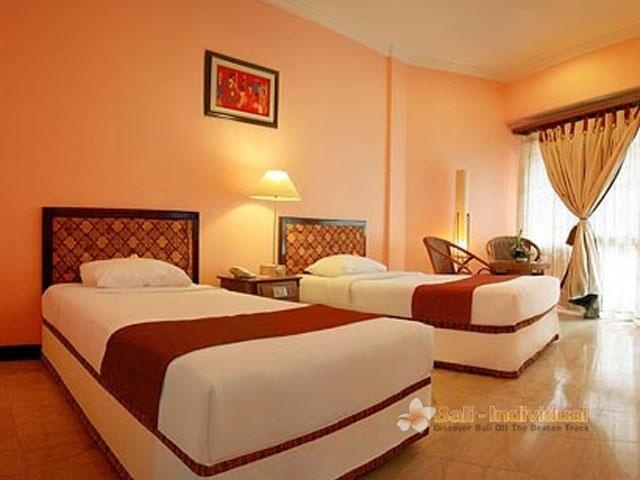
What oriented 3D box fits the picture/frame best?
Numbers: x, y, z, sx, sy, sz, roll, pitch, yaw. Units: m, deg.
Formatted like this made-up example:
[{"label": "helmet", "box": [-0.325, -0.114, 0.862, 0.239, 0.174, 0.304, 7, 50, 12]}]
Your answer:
[{"label": "picture/frame", "box": [-0.825, -1.536, 4.814, 0.880, 0.674, 0.039, 3, -5, -39]}]
